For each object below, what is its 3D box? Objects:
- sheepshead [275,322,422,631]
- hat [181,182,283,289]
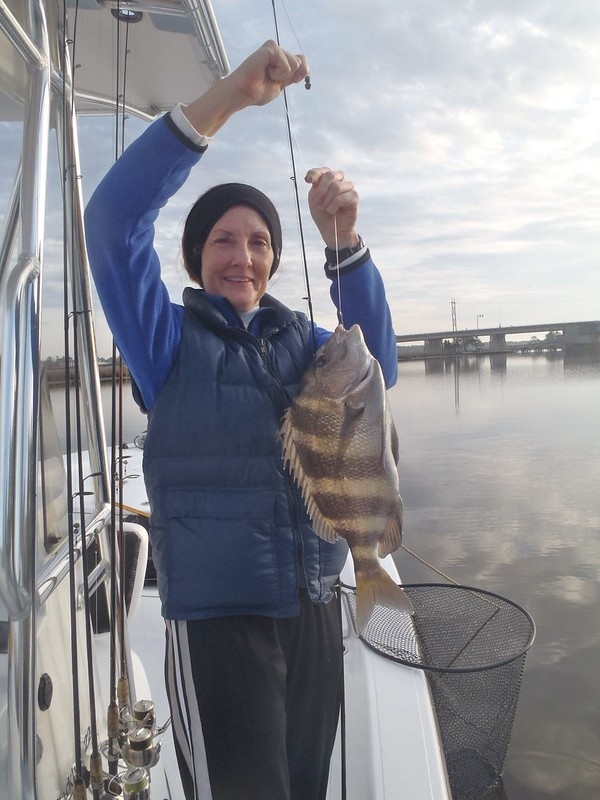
[{"bbox_3d":[0.120,0.170,1.878,0.428,1.093,0.237,-5,-6,9],"label":"sheepshead"},{"bbox_3d":[-0.231,-0.576,2.207,0.233,0.249,0.322,6,-40,-8],"label":"hat"}]
